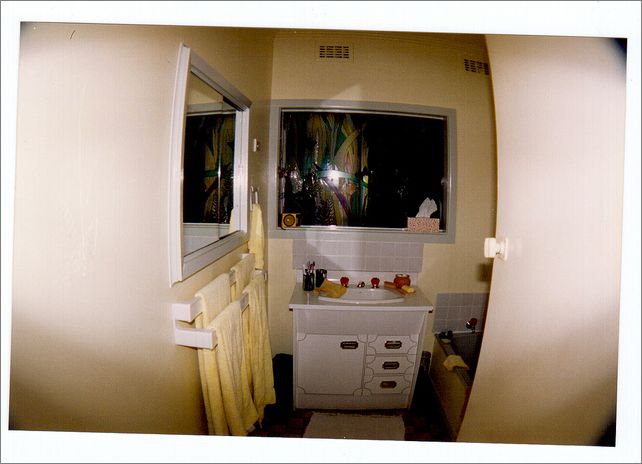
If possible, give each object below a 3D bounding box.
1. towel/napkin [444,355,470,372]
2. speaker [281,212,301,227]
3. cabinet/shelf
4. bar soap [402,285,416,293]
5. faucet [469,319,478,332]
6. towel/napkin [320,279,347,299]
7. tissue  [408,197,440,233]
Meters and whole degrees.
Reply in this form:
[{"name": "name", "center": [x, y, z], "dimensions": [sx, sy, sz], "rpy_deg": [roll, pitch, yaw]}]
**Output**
[{"name": "towel/napkin", "center": [0.708, 0.678, 2.524], "dimensions": [0.081, 0.040, 0.087], "rpy_deg": [2, 13, 5]}, {"name": "speaker", "center": [-0.183, -0.072, 2.875], "dimensions": [0.118, 0.093, 0.045], "rpy_deg": [3, 5, -6]}, {"name": "cabinet/shelf", "center": [0.187, 0.503, 2.790], "dimensions": [0.773, 0.801, 0.494], "rpy_deg": [0, 3, -2]}, {"name": "bar soap", "center": [0.493, 0.321, 2.714], "dimensions": [0.044, 0.044, 0.071], "rpy_deg": [11, 5, -36]}, {"name": "faucet", "center": [0.914, 0.553, 2.886], "dimensions": [0.053, 0.081, 0.028], "rpy_deg": [9, 4, -2]}, {"name": "towel/napkin", "center": [0.068, 0.317, 2.720], "dimensions": [0.145, 0.063, 0.255], "rpy_deg": [5, 7, 8]}, {"name": "tissue ", "center": [0.609, -0.105, 2.858], "dimensions": [0.182, 0.212, 0.076], "rpy_deg": [0, 7, -3]}]
